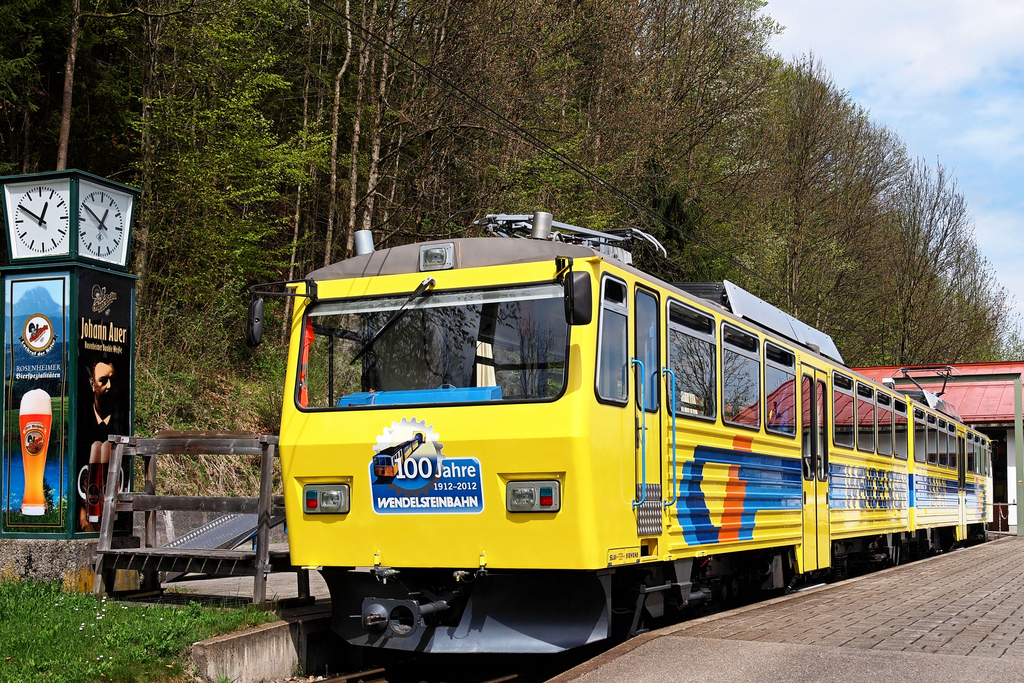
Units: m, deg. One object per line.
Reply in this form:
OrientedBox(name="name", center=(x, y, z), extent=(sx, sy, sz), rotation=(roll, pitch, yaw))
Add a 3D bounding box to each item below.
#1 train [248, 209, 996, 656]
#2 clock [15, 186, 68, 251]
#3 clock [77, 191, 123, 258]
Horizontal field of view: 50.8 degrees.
OrientedBox(name="train", center=(3.681, 1.990, 19.512), extent=(4.198, 4.762, 17.010), rotation=(-5, -9, 28))
OrientedBox(name="clock", center=(-6.817, -1.749, 15.670), extent=(0.877, 0.968, 0.065), rotation=(0, -7, 17))
OrientedBox(name="clock", center=(-6.031, -1.696, 15.794), extent=(0.007, 0.990, 0.959), rotation=(0, -4, 22))
